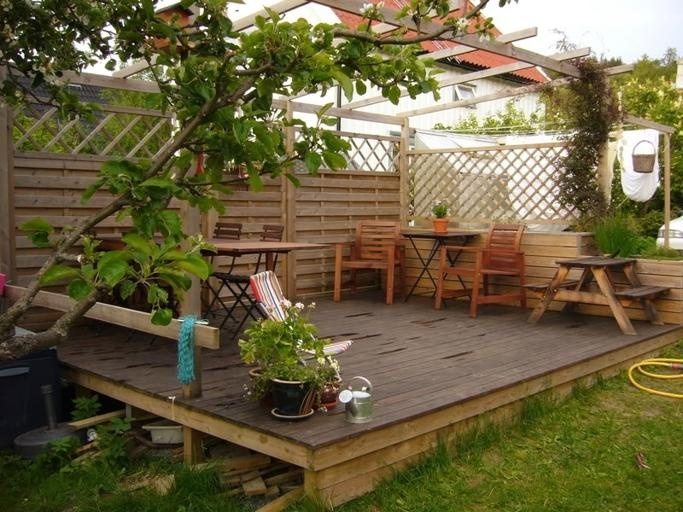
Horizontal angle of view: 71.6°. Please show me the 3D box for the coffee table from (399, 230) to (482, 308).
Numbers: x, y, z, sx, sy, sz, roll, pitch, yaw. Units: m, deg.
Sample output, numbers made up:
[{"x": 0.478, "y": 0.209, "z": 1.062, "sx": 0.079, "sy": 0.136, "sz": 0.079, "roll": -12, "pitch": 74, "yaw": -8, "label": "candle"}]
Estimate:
[{"x": 1.320, "y": 0.098, "z": 6.703, "sx": 1.164, "sy": 0.893, "sz": 1.151, "roll": 1, "pitch": 1, "yaw": -45, "label": "coffee table"}]

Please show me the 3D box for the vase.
[{"x": -0.264, "y": 0.796, "z": 2.724, "sx": 0.409, "sy": 0.134, "sz": 0.347, "roll": 1, "pitch": -4, "yaw": -7, "label": "vase"}]

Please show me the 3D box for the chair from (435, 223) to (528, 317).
[{"x": 1.634, "y": 0.120, "z": 6.102, "sx": 1.049, "sy": 1.078, "sz": 1.194, "roll": -4, "pitch": 8, "yaw": -39, "label": "chair"}]

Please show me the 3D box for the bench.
[{"x": 2.761, "y": 0.401, "z": 5.136, "sx": 1.066, "sy": 0.680, "sz": 0.998, "roll": 6, "pitch": 8, "yaw": 44, "label": "bench"}]
